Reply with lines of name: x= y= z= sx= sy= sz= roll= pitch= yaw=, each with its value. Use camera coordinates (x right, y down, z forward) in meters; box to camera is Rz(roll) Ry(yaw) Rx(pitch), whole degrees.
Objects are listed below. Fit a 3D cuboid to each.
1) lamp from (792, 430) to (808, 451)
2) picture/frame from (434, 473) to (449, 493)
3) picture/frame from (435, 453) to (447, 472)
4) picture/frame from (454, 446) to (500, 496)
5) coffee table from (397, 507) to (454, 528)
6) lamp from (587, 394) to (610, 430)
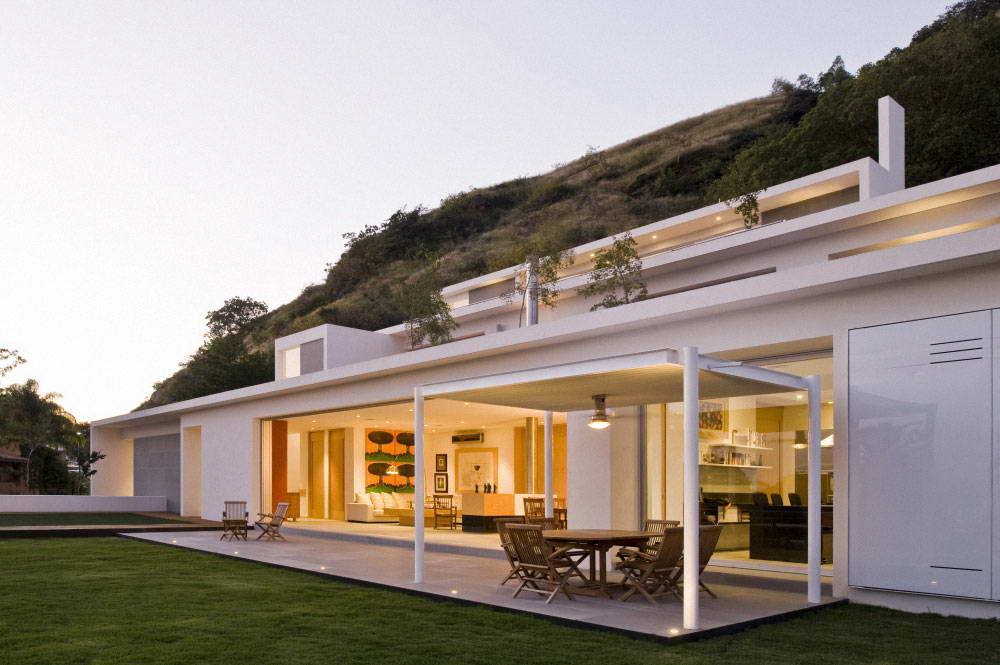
lamp: x=5.129 y=1.845 z=13.464 sx=0.108 sy=0.341 sz=0.337 roll=0 pitch=-4 yaw=-11
picture/frame: x=-2.095 y=5.385 z=28.031 sx=0.051 sy=0.710 sz=0.687 roll=8 pitch=-11 yaw=-38
picture/frame: x=-2.115 y=4.673 z=28.171 sx=0.056 sy=0.722 sz=0.694 roll=2 pitch=-3 yaw=-41
picture/frame: x=-0.737 y=4.655 z=26.274 sx=0.059 sy=1.398 sz=1.625 roll=13 pitch=-16 yaw=-41
coffee table: x=-2.043 y=5.642 z=23.700 sx=0.990 sy=0.253 sz=1.014 roll=-4 pitch=-7 yaw=38
lamp: x=1.752 y=1.462 z=14.160 sx=0.608 sy=0.623 sz=0.632 roll=1 pitch=-9 yaw=-4
